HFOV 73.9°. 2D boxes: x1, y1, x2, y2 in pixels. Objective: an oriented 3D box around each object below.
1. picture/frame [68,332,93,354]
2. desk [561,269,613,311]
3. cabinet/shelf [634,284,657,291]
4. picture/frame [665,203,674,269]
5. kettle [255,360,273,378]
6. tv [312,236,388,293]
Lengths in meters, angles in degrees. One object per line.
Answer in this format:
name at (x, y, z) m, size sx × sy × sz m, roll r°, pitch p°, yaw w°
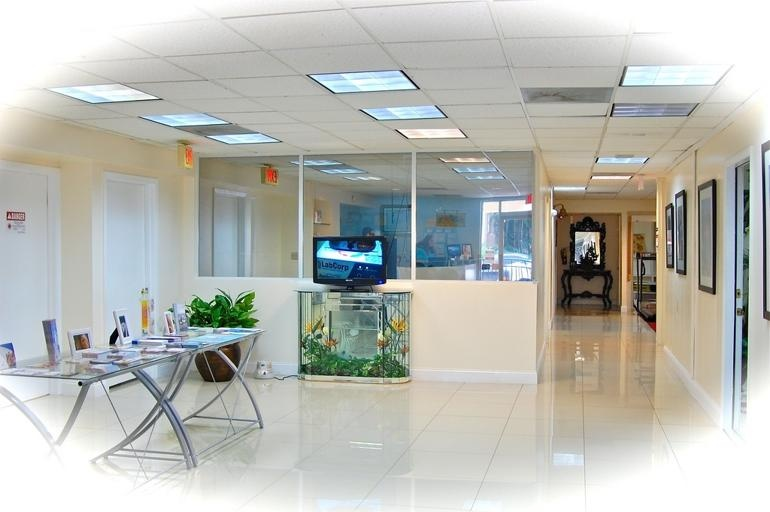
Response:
picture/frame at (-2.666, 0.761, 4.478) m, size 0.024 × 0.196 × 0.210 m, roll -7°, pitch 7°, yaw 23°
desk at (6.616, 1.041, 16.811) m, size 1.567 × 1.192 × 1.014 m, roll 1°, pitch 3°, yaw 22°
cabinet/shelf at (7.970, 0.963, 15.628) m, size 0.530 × 0.123 × 0.487 m, roll -1°, pitch -1°, yaw 15°
picture/frame at (4.938, -0.346, 8.857) m, size 0.110 × 1.128 × 0.897 m, roll 1°, pitch 4°, yaw 28°
kettle at (-1.822, 1.723, 7.726) m, size 0.262 × 0.196 × 0.251 m, roll 1°, pitch -8°, yaw -3°
tv at (-0.507, 0.111, 7.500) m, size 1.230 × 0.749 × 0.387 m, roll 0°, pitch 3°, yaw -17°
